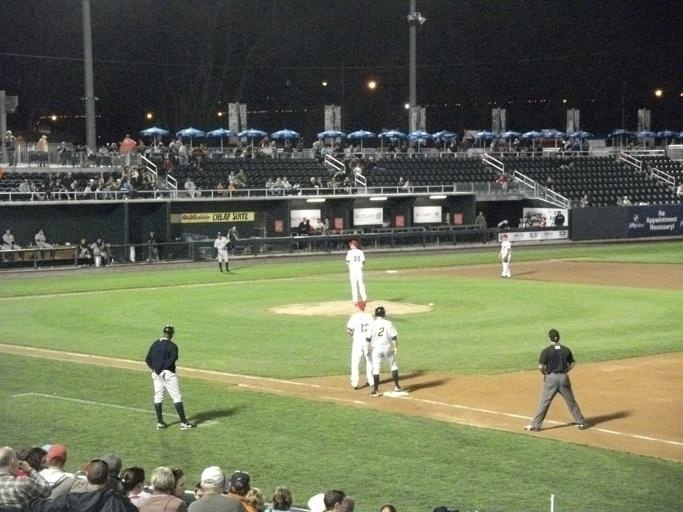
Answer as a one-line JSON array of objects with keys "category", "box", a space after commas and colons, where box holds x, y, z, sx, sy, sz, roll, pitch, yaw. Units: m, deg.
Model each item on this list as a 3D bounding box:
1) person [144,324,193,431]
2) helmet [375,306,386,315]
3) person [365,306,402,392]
[{"category": "person", "box": [-6.377, 4.496, 44.375, 1.462, 3.820, 0.610, -2, 2, -6]}, {"category": "helmet", "box": [1.500, 2.142, 46.113, 0.369, 0.328, 0.317, -4, 15, -4]}, {"category": "person", "box": [1.618, 3.670, 46.391, 1.134, 3.438, 0.796, -1, 2, -2]}]
